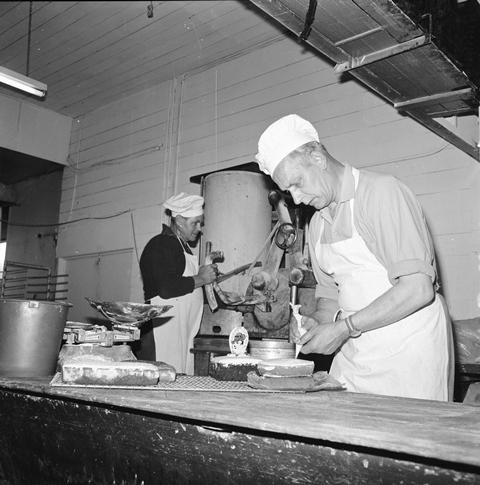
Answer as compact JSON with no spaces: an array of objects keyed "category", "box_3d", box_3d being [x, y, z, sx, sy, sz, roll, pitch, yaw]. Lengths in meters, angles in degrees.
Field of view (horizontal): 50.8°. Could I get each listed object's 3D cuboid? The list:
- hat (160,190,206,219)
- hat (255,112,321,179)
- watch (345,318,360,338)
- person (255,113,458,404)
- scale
[{"category":"hat","box_3d":[-0.542,-0.364,4.767,0.303,0.243,0.138,10,-43,25]},{"category":"hat","box_3d":[0.205,-0.353,1.918,0.189,0.161,0.233,-31,-3,35]},{"category":"watch","box_3d":[0.360,0.278,1.627,0.036,0.069,0.064,-7,2,2]},{"category":"person","box_3d":[0.377,0.030,1.773,0.590,1.012,0.585,-4,-9,34]},{"category":"scale","box_3d":[-0.431,0.324,1.796,0.279,0.164,0.243,5,-13,-11]}]
